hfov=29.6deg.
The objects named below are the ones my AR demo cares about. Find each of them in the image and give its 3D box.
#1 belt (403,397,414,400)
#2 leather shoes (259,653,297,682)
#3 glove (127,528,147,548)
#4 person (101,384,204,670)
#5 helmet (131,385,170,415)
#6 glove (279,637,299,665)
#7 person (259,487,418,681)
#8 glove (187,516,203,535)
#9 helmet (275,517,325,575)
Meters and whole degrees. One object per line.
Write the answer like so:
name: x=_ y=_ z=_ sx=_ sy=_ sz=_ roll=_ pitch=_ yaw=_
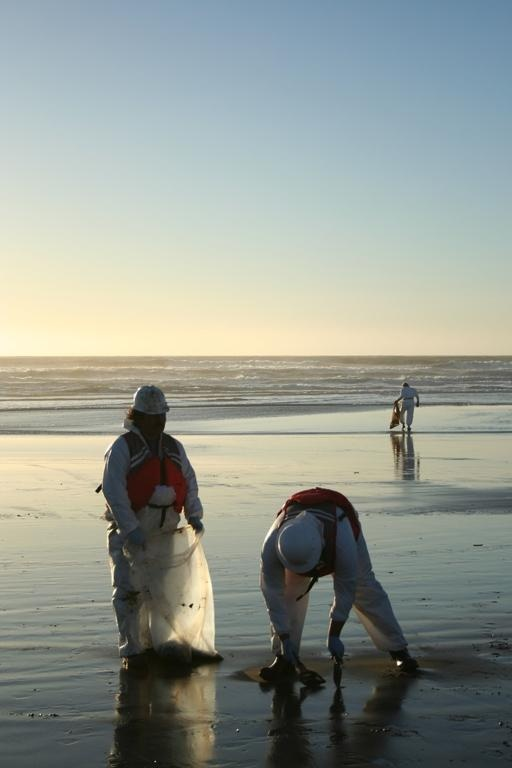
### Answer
belt: x=4.166 y=0.395 z=26.359 sx=0.233 sy=0.123 sz=0.239 roll=-1 pitch=0 yaw=6
leather shoes: x=0.121 y=1.560 z=5.324 sx=0.239 sy=0.169 sz=0.092 roll=1 pitch=-8 yaw=-14
glove: x=-0.684 y=0.886 z=5.543 sx=0.092 sy=0.104 sz=0.119 roll=-5 pitch=-8 yaw=-1
person: x=-0.670 y=0.805 z=5.796 sx=0.491 sy=1.092 sz=0.734 roll=-1 pitch=1 yaw=33
helmet: x=-0.643 y=0.100 z=5.797 sx=0.175 sy=0.127 sz=0.219 roll=-4 pitch=10 yaw=-29
glove: x=0.178 y=1.433 z=5.205 sx=0.099 sy=0.137 sz=0.052 roll=-6 pitch=-2 yaw=42
person: x=0.366 y=1.088 z=5.317 sx=0.862 sy=1.018 sz=0.636 roll=-2 pitch=1 yaw=-36
glove: x=-0.377 y=0.869 z=5.950 sx=0.044 sy=0.040 sz=0.131 roll=-20 pitch=19 yaw=-34
helmet: x=0.228 y=0.827 z=4.976 sx=0.243 sy=0.314 sz=0.270 roll=-1 pitch=1 yaw=2
